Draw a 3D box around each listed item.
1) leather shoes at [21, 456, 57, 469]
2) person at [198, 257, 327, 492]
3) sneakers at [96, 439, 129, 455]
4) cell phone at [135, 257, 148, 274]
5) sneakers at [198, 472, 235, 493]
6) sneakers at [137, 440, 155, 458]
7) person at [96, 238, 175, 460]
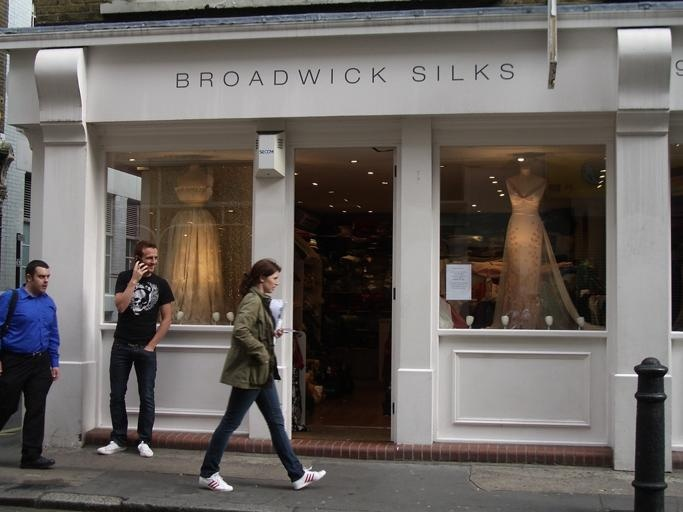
[{"bbox_3d":[-3.443,2.341,7.914,0.330,0.147,0.155,1,-1,-9],"label":"leather shoes"},{"bbox_3d":[-0.899,1.277,7.233,1.194,2.428,0.483,-2,9,-13],"label":"person"},{"bbox_3d":[-2.793,2.344,8.505,0.371,0.167,0.136,5,-4,-25],"label":"sneakers"},{"bbox_3d":[-2.420,0.124,8.386,0.129,0.181,0.062,-23,1,19],"label":"cell phone"},{"bbox_3d":[-1.312,2.381,7.333,0.436,0.194,0.151,3,-5,11],"label":"sneakers"},{"bbox_3d":[-2.366,2.336,8.426,0.184,0.185,0.281,-3,10,-17],"label":"sneakers"},{"bbox_3d":[-2.483,1.116,8.495,0.715,2.522,0.640,0,9,2],"label":"person"}]
